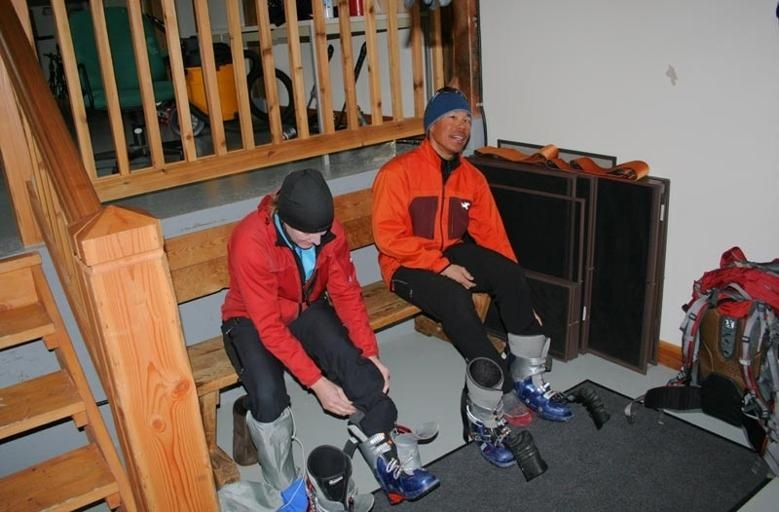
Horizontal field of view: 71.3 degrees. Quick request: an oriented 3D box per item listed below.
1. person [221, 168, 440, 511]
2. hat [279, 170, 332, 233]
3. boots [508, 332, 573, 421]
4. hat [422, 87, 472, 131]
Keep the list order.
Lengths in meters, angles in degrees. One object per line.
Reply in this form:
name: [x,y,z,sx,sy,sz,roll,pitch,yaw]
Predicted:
person: [-0.304,0.428,2.665,0.750,1.116,1.341,-20,53,-27]
hat: [-0.374,-0.257,2.442,0.210,0.215,0.282,-20,35,-33]
boots: [0.805,0.666,2.941,0.184,0.339,0.464,-23,43,-32]
hat: [0.311,-0.831,3.099,0.216,0.187,0.250,-1,6,-31]
